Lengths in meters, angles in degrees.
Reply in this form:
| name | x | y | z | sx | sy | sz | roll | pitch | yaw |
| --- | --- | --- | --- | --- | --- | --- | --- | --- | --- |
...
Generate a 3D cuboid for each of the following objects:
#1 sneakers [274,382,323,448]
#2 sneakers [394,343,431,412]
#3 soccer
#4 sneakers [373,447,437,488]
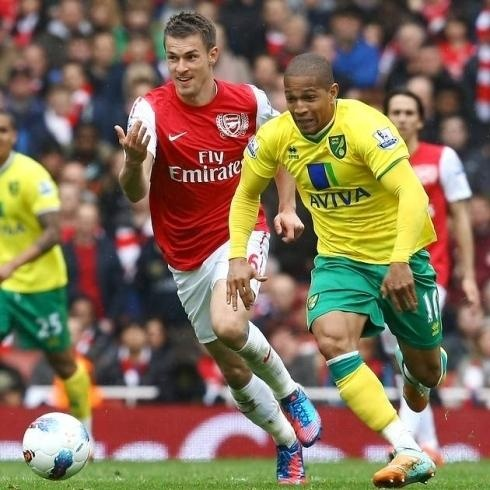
| name | x | y | z | sx | sy | sz | roll | pitch | yaw |
| --- | --- | --- | --- | --- | --- | --- | --- | --- | --- |
| sneakers | 0.353 | 1.053 | 5.257 | 0.155 | 0.199 | 0.470 | -38 | 45 | 19 |
| sneakers | 1.136 | 0.928 | 5.634 | 0.199 | 0.596 | 0.257 | 1 | 43 | 17 |
| soccer | -1.048 | 1.124 | 4.894 | 0.359 | 0.380 | 0.405 | -3 | 25 | 2 |
| sneakers | 0.825 | 1.130 | 4.269 | 0.394 | 0.193 | 0.148 | -3 | -12 | -44 |
